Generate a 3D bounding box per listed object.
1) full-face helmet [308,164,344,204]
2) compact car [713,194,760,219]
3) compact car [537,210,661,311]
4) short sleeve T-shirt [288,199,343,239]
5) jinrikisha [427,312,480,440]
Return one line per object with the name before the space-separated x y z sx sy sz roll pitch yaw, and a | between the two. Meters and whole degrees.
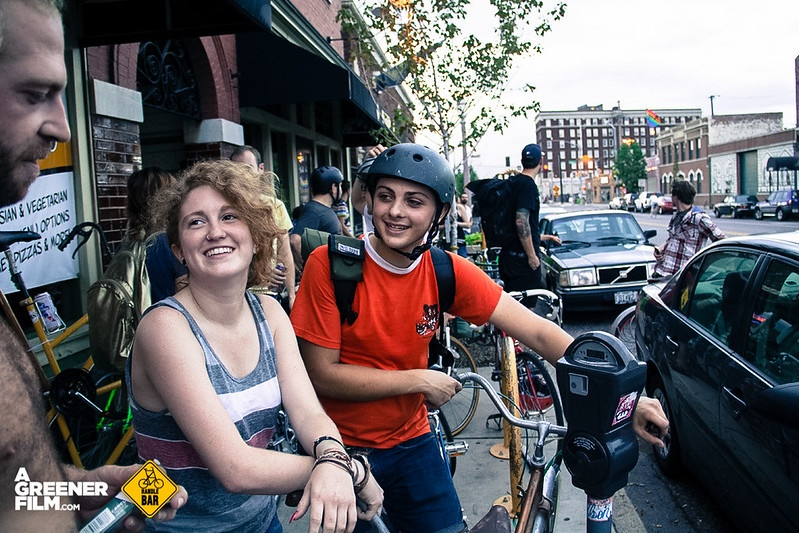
full-face helmet | -0.817 -0.897 6.138 0.307 0.453 0.396 12 24 35
compact car | 23.772 -4.255 39.553 1.470 1.464 3.439 -1 8 -5
compact car | 3.498 -0.180 10.412 1.507 1.182 2.791 -4 2 -2
short sleeve T-shirt | -0.849 -0.487 5.815 0.405 0.534 0.742 -2 1 26
jinrikisha | 0.615 1.102 5.869 0.677 1.226 0.574 -7 -11 -7
